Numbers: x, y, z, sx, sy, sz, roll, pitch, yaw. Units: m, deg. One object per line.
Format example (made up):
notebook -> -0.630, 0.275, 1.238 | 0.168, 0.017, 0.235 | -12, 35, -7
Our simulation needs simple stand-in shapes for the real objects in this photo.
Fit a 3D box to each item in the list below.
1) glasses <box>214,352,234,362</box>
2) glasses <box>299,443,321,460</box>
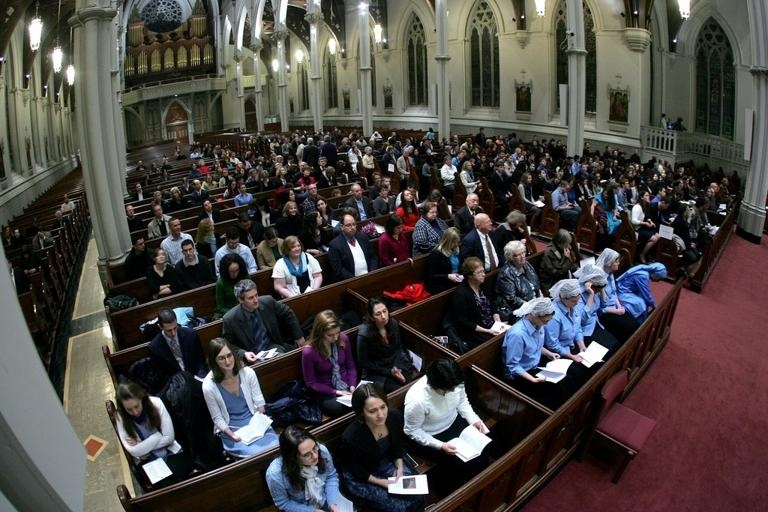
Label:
glasses -> -1.630, 1.025, 4.944 | 0.147, 0.084, 0.046 | -9, 12, -12
glasses -> -0.638, 1.668, 4.138 | 0.126, 0.082, 0.164 | -19, 20, -35
